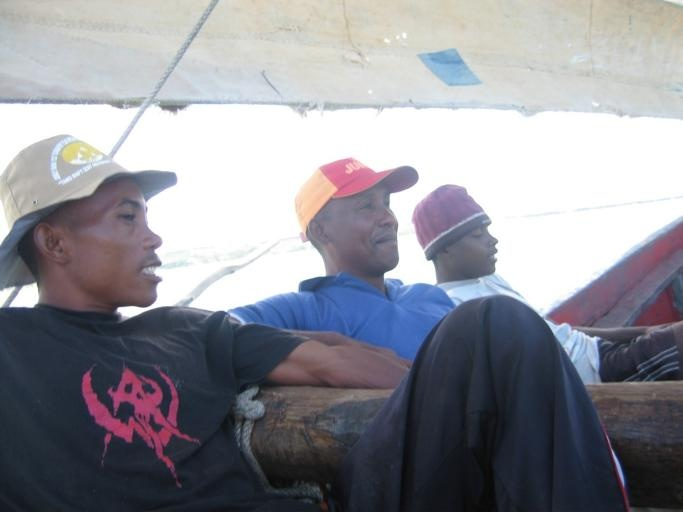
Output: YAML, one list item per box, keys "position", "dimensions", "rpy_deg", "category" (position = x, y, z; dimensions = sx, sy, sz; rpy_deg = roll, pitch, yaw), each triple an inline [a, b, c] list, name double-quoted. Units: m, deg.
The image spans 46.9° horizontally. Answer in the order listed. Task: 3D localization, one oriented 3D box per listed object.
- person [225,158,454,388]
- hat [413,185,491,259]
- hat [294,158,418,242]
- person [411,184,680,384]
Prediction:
- position: [0.101, 0.048, 4.158]
  dimensions: [0.760, 1.168, 1.592]
  rpy_deg: [-16, -11, 40]
  category: "person"
- position: [0.651, -0.208, 4.728]
  dimensions: [0.458, 0.360, 0.349]
  rpy_deg: [-22, -6, 13]
  category: "hat"
- position: [0.053, -0.301, 4.151]
  dimensions: [0.563, 0.214, 0.373]
  rpy_deg: [-27, -5, 27]
  category: "hat"
- position: [1.200, 0.142, 4.301]
  dimensions: [0.713, 1.135, 1.558]
  rpy_deg: [-11, -3, -44]
  category: "person"
